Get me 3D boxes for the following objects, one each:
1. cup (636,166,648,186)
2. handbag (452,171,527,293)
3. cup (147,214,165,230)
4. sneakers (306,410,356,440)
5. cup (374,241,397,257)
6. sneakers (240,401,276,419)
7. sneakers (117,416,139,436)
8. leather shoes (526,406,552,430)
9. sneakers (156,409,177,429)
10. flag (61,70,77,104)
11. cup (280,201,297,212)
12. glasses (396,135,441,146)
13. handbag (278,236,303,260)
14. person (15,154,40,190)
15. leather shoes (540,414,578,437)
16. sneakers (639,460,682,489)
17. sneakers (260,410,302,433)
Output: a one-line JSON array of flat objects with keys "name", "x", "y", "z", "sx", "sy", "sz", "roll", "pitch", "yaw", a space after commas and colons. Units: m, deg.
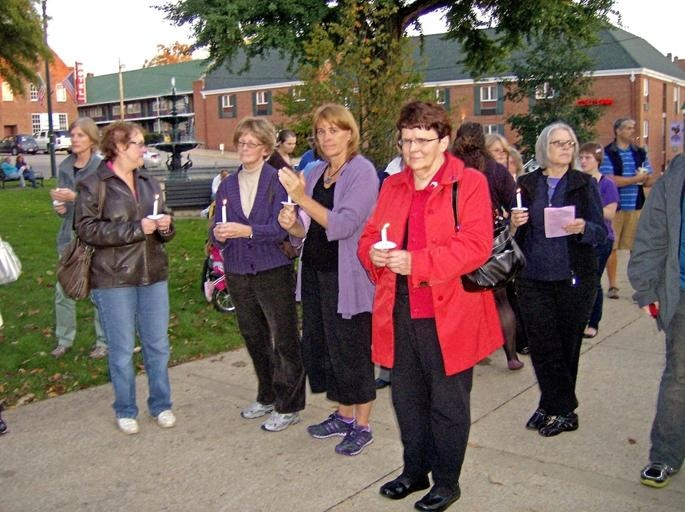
[{"name": "cup", "x": 4.720, "y": -1.288, "z": 9.071, "sx": 0.185, "sy": 0.243, "sz": 0.110, "roll": 4, "pitch": 1, "yaw": -28}, {"name": "handbag", "x": 0.983, "y": -0.015, "z": 3.678, "sx": 0.239, "sy": 0.479, "sz": 0.484, "roll": 8, "pitch": 15, "yaw": 40}, {"name": "cup", "x": -1.578, "y": -0.289, "z": 4.837, "sx": 0.131, "sy": 0.117, "sz": 0.178, "roll": -12, "pitch": 15, "yaw": -43}, {"name": "sneakers", "x": -0.097, "y": 1.487, "z": 4.960, "sx": 0.455, "sy": 0.209, "sz": 0.175, "roll": -1, "pitch": -6, "yaw": -8}, {"name": "cup", "x": 0.247, "y": -0.052, "z": 3.460, "sx": 0.126, "sy": 0.085, "sz": 0.259, "roll": -1, "pitch": 11, "yaw": 3}, {"name": "sneakers", "x": -0.799, "y": 1.435, "z": 5.337, "sx": 0.270, "sy": 0.120, "sz": 0.138, "roll": 1, "pitch": 5, "yaw": -30}, {"name": "sneakers", "x": -1.879, "y": 1.503, "z": 5.013, "sx": 0.102, "sy": 0.086, "sz": 0.211, "roll": -3, "pitch": 2, "yaw": -38}, {"name": "leather shoes", "x": 1.697, "y": 1.416, "z": 4.940, "sx": 0.092, "sy": 0.105, "sz": 0.272, "roll": 17, "pitch": 26, "yaw": 38}, {"name": "sneakers", "x": -1.577, "y": 1.487, "z": 5.127, "sx": 0.095, "sy": 0.086, "sz": 0.208, "roll": -5, "pitch": 0, "yaw": -31}, {"name": "flag", "x": -19.138, "y": -11.971, "z": 39.967, "sx": 0.689, "sy": 2.312, "sz": 4.472, "roll": -7, "pitch": 12, "yaw": -24}, {"name": "cup", "x": -0.431, "y": -0.394, "z": 4.517, "sx": 0.101, "sy": 0.099, "sz": 0.100, "roll": 5, "pitch": -6, "yaw": 1}, {"name": "glasses", "x": 0.495, "y": -0.750, "z": 3.714, "sx": 0.249, "sy": 0.068, "sz": 0.128, "roll": 4, "pitch": 12, "yaw": 24}, {"name": "handbag", "x": -0.451, "y": -0.034, "z": 4.994, "sx": 0.203, "sy": 0.194, "sz": 0.143, "roll": -20, "pitch": 37, "yaw": 9}, {"name": "person", "x": -13.923, "y": -3.739, "z": 25.029, "sx": 0.751, "sy": 1.333, "sz": 1.729, "roll": -8, "pitch": 13, "yaw": -29}, {"name": "leather shoes", "x": 1.826, "y": 1.424, "z": 4.876, "sx": 0.395, "sy": 0.175, "sz": 0.140, "roll": -6, "pitch": 17, "yaw": -12}, {"name": "sneakers", "x": 2.216, "y": 1.563, "z": 4.038, "sx": 0.248, "sy": 0.097, "sz": 0.130, "roll": -29, "pitch": 30, "yaw": -27}, {"name": "sneakers", "x": -0.554, "y": 1.486, "z": 5.117, "sx": 0.332, "sy": 0.157, "sz": 0.140, "roll": -6, "pitch": 12, "yaw": -36}]
